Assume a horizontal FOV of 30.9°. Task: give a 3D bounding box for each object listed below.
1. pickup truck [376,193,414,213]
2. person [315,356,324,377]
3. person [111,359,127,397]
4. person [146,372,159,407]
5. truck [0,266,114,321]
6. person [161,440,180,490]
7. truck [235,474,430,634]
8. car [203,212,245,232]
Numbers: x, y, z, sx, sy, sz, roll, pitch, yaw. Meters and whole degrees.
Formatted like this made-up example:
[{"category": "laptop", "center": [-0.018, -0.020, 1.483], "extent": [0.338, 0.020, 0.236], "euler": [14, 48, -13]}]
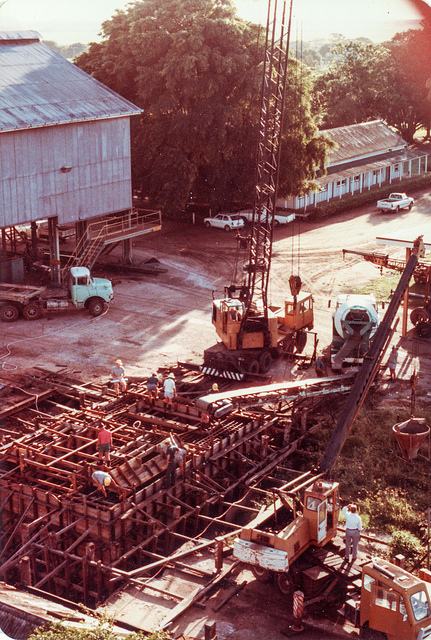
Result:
[{"category": "pickup truck", "center": [14.878, -9.668, 64.604], "extent": [1.475, 1.233, 2.900], "euler": [14, 23, 41]}, {"category": "person", "center": [3.963, 1.911, 30.267], "extent": [0.297, 0.773, 0.973], "euler": [2, 10, 7]}, {"category": "person", "center": [-3.431, 2.026, 27.677], "extent": [0.453, 1.229, 0.884], "euler": [0, 10, -6]}, {"category": "person", "center": [-2.199, 2.385, 27.127], "extent": [0.408, 1.136, 0.849], "euler": [0, 10, -5]}, {"category": "truck", "center": [-7.556, -1.212, 38.556], "extent": [6.347, 2.138, 2.274], "euler": [-4, 17, -16]}, {"category": "person", "center": [-1.297, 4.131, 22.254], "extent": [0.446, 1.175, 0.891], "euler": [1, 10, 3]}, {"category": "truck", "center": [2.422, 5.646, 17.213], "extent": [3.504, 1.676, 2.712], "euler": [28, 21, 30]}, {"category": "car", "center": [0.453, -7.340, 58.670], "extent": [2.538, 1.307, 0.795], "euler": [9, 13, 40]}]
